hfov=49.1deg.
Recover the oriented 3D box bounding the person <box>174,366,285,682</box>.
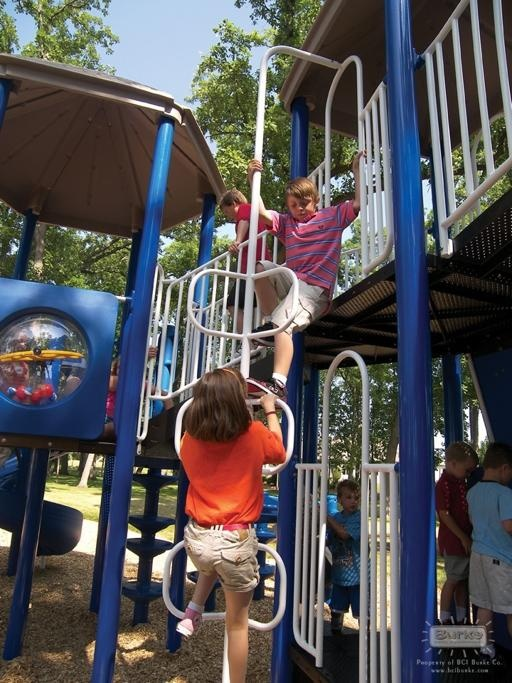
[{"bbox_3d":[-0.092,0.583,1.836,0.345,0.986,0.228,5,-9,-8],"label":"person"}]

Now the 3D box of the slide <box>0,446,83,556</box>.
[{"bbox_3d":[-2.428,1.803,6.129,0.639,1.142,1.011,-1,-11,27],"label":"slide"}]

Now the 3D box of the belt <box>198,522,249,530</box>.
[{"bbox_3d":[-0.106,0.577,1.749,0.156,0.025,0.043,3,-9,6],"label":"belt"}]

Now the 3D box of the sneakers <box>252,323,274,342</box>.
[{"bbox_3d":[0.030,-0.042,2.572,0.141,0.093,0.050,3,-1,18],"label":"sneakers"}]

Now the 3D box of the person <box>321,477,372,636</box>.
[{"bbox_3d":[0.579,1.420,3.750,0.219,0.960,0.375,2,-9,11],"label":"person"}]
